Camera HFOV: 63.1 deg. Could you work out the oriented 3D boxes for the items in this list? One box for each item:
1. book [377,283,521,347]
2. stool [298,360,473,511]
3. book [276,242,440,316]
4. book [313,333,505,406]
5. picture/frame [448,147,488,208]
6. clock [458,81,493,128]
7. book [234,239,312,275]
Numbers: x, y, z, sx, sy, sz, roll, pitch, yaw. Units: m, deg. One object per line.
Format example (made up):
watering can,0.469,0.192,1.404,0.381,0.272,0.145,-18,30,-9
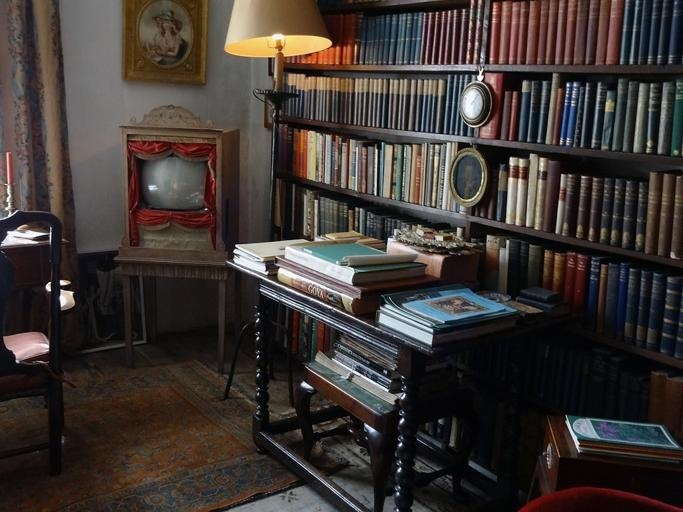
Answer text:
book,0.378,0.200,1.973,0.417,0.120,0.295,-9,14,-34
stool,0.248,0.635,2.424,0.607,0.559,0.773,1,7,-32
book,0.115,0.019,2.182,0.361,0.130,0.379,-6,13,-38
book,0.222,0.482,2.358,0.371,0.118,0.362,10,3,-39
picture/frame,0.565,-0.346,2.442,0.035,0.308,0.274,-4,4,-29
clock,0.578,-0.646,2.362,0.033,0.232,0.210,-3,9,-32
book,-0.307,-0.015,2.514,0.214,0.049,0.211,-11,18,-39
